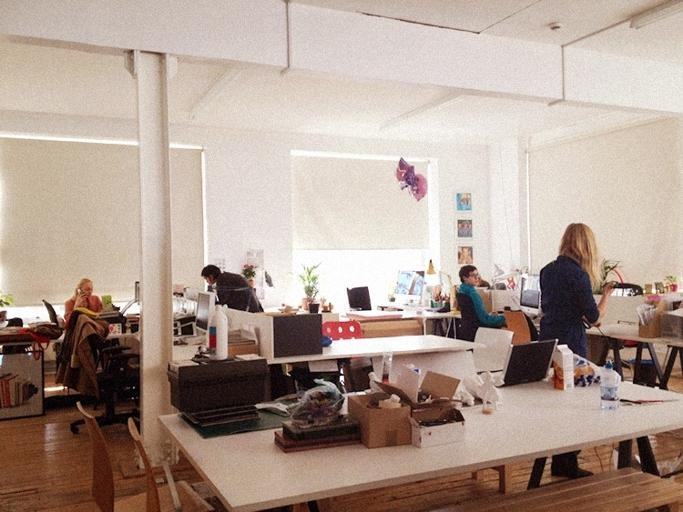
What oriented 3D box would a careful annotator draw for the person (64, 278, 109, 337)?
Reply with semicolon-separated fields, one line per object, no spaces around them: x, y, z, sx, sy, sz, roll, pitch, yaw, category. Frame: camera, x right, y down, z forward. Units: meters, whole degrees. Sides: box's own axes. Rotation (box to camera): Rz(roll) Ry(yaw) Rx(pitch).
-3.061;0.600;6.238;0.543;0.826;0.515;0;-3;-32;person

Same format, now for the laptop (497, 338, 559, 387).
1.102;0.631;3.140;0.319;0.252;0.263;-1;2;-24;laptop

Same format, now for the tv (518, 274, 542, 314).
2.483;0.514;6.943;0.144;0.451;0.445;11;-17;-5;tv

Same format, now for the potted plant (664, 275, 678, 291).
4.342;0.356;6.938;0.183;0.228;0.232;2;1;42;potted plant

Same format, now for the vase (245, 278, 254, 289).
-1.340;0.381;7.587;0.176;0.194;0.178;1;-6;-9;vase

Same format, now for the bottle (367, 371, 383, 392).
0.166;0.621;2.621;0.078;0.066;0.132;2;-3;-7;bottle

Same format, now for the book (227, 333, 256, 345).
-0.803;0.667;4.232;0.191;0.046;0.177;2;3;-16;book

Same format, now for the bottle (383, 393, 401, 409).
0.226;0.654;2.393;0.046;0.045;0.044;1;4;-18;bottle

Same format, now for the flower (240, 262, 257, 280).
-1.507;0.237;8.570;0.229;0.234;0.225;1;-3;-43;flower

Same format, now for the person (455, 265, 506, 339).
1.634;0.568;6.148;0.551;0.918;0.511;-9;6;-26;person
